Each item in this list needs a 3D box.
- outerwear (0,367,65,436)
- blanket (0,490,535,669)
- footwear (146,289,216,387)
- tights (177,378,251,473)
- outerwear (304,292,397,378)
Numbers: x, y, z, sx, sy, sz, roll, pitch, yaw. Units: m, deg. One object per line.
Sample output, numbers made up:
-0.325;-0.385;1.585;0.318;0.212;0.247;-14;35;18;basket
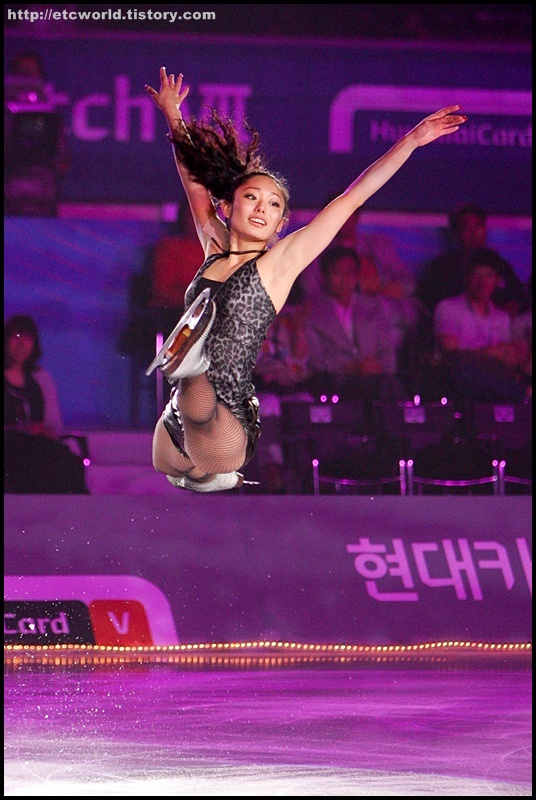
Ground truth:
-1.218;0.009;5.255;0.282;0.342;0.071;1;1;-9;outerwear
0.001;0.881;5.228;2.720;0.803;0.126;1;1;-1;blanket
-0.242;-0.185;3.208;0.143;0.257;0.357;38;3;6;footwear
-0.197;0.086;3.422;0.179;0.337;0.396;1;1;14;tights
0.423;-0.327;5.342;0.555;0.433;0.151;0;3;-1;outerwear
